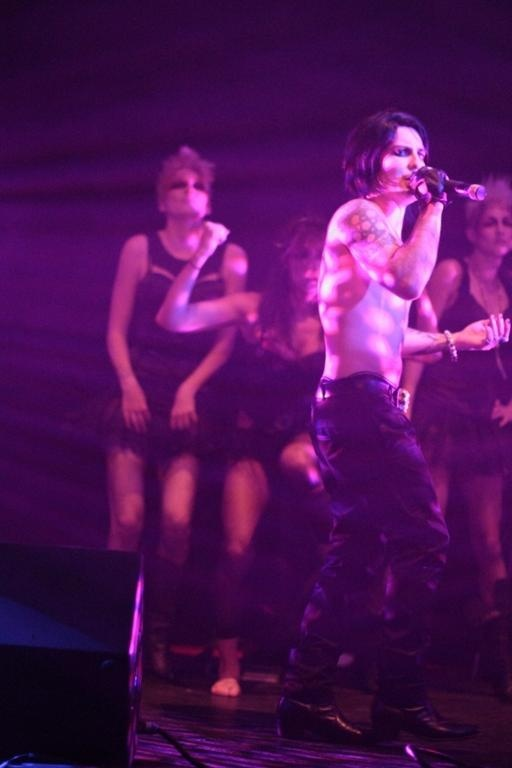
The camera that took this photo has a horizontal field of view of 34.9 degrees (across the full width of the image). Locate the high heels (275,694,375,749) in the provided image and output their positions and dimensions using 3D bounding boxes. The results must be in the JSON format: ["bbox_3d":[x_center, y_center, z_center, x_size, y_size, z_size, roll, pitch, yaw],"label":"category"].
[{"bbox_3d":[0.167,0.896,2.169,0.281,0.110,0.091,-1,-8,14],"label":"high heels"}]

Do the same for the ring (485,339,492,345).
[{"bbox_3d":[0.716,-0.131,2.507,0.004,0.016,0.013,6,7,-39],"label":"ring"}]

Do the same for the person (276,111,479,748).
[{"bbox_3d":[0.336,0.198,2.294,0.488,1.496,0.348,0,-1,12],"label":"person"}]

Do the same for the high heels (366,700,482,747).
[{"bbox_3d":[0.428,0.883,2.144,0.310,0.119,0.101,-2,-8,8],"label":"high heels"}]

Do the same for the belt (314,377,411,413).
[{"bbox_3d":[0.305,0.022,2.368,0.158,0.057,0.141,2,-9,-3],"label":"belt"}]

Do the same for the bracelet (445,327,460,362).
[{"bbox_3d":[0.604,-0.120,2.517,0.034,0.115,0.024,-13,3,6],"label":"bracelet"}]

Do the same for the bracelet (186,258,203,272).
[{"bbox_3d":[-0.202,-0.384,2.615,0.032,0.040,0.030,-6,11,9],"label":"bracelet"}]
